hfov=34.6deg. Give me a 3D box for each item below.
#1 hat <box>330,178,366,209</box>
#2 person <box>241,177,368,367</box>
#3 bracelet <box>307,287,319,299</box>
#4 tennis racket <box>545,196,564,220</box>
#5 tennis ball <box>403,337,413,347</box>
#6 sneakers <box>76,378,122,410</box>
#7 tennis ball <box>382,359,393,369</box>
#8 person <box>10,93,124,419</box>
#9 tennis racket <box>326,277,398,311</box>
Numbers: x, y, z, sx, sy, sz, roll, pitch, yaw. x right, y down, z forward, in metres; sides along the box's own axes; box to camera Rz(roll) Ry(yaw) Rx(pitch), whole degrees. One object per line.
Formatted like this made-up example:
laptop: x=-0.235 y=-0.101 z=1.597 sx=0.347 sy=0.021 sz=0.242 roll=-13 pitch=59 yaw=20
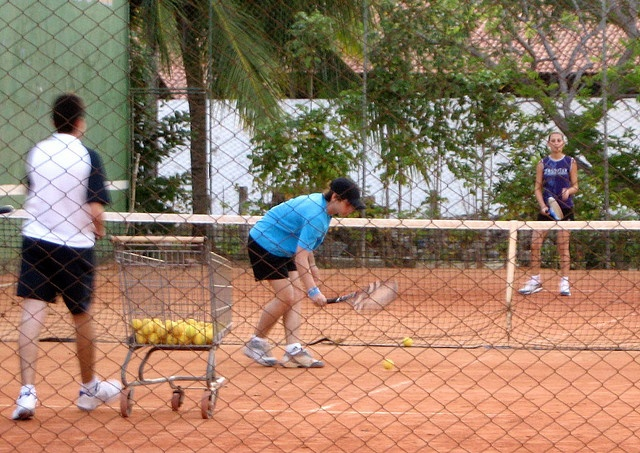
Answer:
hat: x=0.232 y=-0.297 z=8.829 sx=0.300 sy=0.283 sz=0.327 roll=-2 pitch=-1 yaw=0
person: x=-0.103 y=0.431 z=9.208 sx=1.164 sy=1.659 sz=0.624 roll=5 pitch=3 yaw=27
bracelet: x=-0.063 y=0.574 z=9.079 sx=0.104 sy=0.094 sz=0.125 roll=-2 pitch=-1 yaw=-2
tennis racket: x=2.650 y=-0.222 z=11.617 sx=0.166 sy=0.276 sz=0.574 roll=-2 pitch=-1 yaw=12
tennis ball: x=0.836 y=1.123 z=10.025 sx=0.081 sy=0.079 sz=0.076 roll=-29 pitch=24 yaw=14
sneakers: x=-1.759 y=1.324 z=8.209 sx=0.408 sy=0.170 sz=0.189 roll=-22 pitch=35 yaw=-39
tennis ball: x=0.618 y=1.249 z=9.368 sx=0.091 sy=0.073 sz=0.071 roll=24 pitch=37 yaw=-11
person: x=-2.003 y=0.250 z=8.312 sx=0.892 sy=2.575 sz=1.499 roll=-1 pitch=-3 yaw=29
tennis racket: x=0.459 y=0.762 z=11.840 sx=0.945 sy=0.267 sz=0.336 roll=-2 pitch=40 yaw=-4
